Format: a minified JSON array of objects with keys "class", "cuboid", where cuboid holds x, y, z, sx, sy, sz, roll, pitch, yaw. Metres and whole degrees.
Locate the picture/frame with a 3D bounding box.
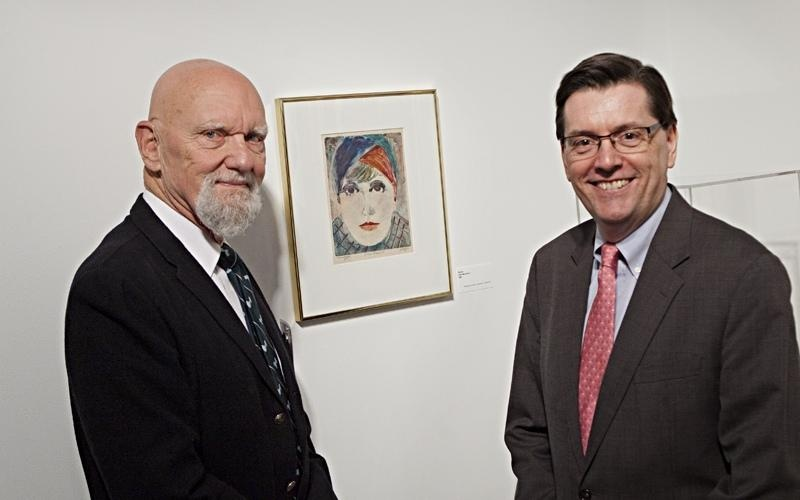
[{"class":"picture/frame","cuboid":[-0.187,-0.198,2.808,0.935,1.159,0.075,-9,6,-29]}]
